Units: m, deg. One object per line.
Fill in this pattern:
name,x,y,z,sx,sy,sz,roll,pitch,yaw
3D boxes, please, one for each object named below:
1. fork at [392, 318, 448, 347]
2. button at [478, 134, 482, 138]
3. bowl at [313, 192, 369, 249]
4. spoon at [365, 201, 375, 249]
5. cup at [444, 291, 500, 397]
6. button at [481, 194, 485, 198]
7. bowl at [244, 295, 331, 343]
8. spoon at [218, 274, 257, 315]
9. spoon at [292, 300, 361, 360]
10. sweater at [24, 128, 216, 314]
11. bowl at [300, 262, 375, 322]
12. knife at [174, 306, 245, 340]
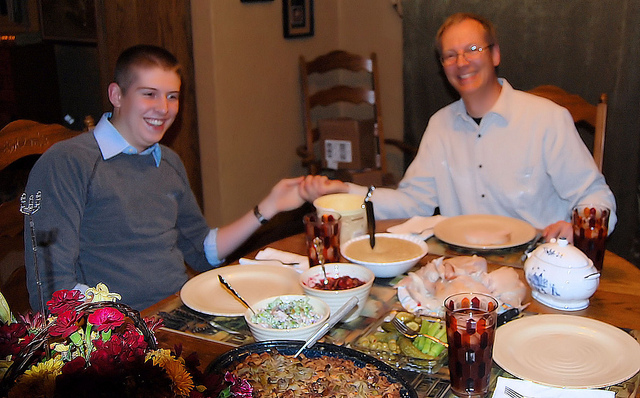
fork,0.304,0.415,1.509,0.205,0.030,0.037,21,35,31
button,0.881,-0.349,2.726,0.013,0.014,0.003,2,18,19
bowl,0.107,0.088,2.154,0.216,0.168,0.222,-4,13,1
spoon,0.211,0.099,1.971,0.031,0.030,0.201,5,53,-14
cup,0.430,0.412,1.418,0.139,0.230,0.223,2,17,20
button,0.910,-0.018,2.755,0.017,0.011,0.003,-2,17,3
bowl,-0.099,0.384,1.550,0.247,0.106,0.190,-11,17,-25
spoon,-0.297,0.351,1.769,0.016,0.184,0.019,-51,14,-7
spoon,0.014,0.403,1.498,0.272,0.030,0.026,-30,-8,-37
sweater,-0.815,0.115,2.246,0.569,0.774,1.020,15,16,28
bowl,0.063,0.289,1.690,0.209,0.115,0.203,-2,10,0
knife,-0.367,0.419,1.637,0.161,0.018,0.022,24,9,9
